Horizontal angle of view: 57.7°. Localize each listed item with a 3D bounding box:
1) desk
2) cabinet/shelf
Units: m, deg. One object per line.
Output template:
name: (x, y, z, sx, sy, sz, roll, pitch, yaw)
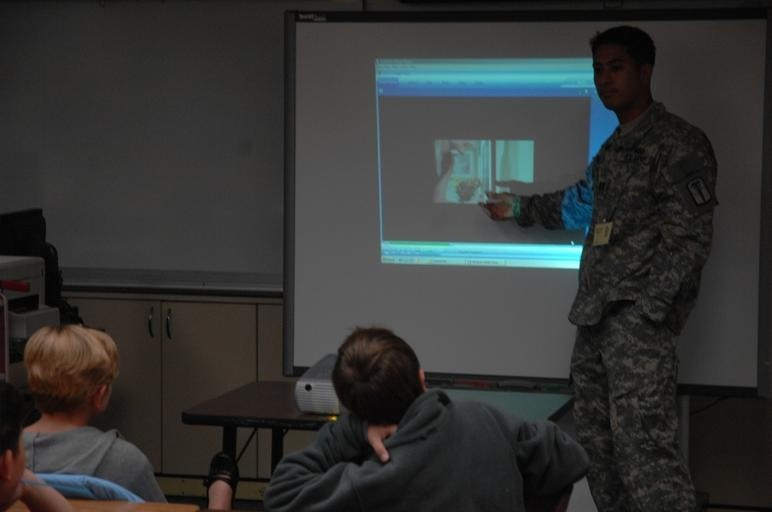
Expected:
desk: (-0.379, 0.757, 3.393, 1.565, 0.558, 0.541, 2, 0, 4)
cabinet/shelf: (-1.212, 0.808, 4.149, 1.294, 1.186, 0.651, 2, 4, 9)
